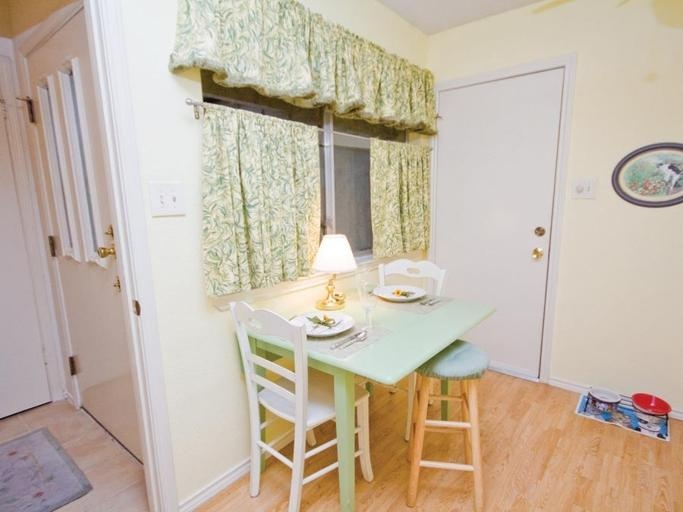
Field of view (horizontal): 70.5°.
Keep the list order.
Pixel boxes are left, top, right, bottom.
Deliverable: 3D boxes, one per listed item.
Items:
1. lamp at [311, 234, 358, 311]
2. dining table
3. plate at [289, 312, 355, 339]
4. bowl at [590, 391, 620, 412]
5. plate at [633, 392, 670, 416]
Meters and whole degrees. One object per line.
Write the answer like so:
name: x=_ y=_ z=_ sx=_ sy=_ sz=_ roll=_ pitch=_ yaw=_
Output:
lamp: x=-0.062 y=0.154 z=3.086 sx=0.203 sy=0.326 sz=0.220 roll=13 pitch=-15 yaw=-24
dining table: x=0.120 y=0.469 z=2.843 sx=1.146 sy=0.784 sz=1.440 roll=7 pitch=15 yaw=35
plate: x=-0.085 y=0.398 z=2.775 sx=0.193 sy=0.029 sz=0.193 roll=-5 pitch=14 yaw=-21
bowl: x=1.857 y=1.023 z=3.413 sx=0.133 sy=0.063 sz=0.136 roll=-8 pitch=6 yaw=1
plate: x=2.124 y=1.026 z=3.336 sx=0.148 sy=0.042 sz=0.148 roll=0 pitch=24 yaw=28
